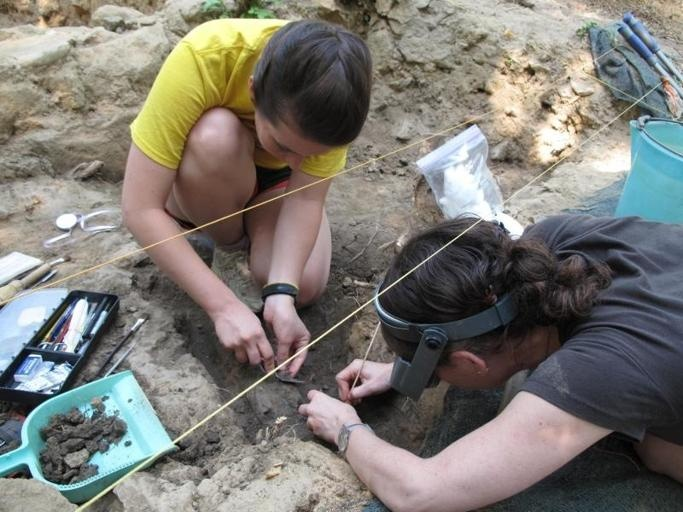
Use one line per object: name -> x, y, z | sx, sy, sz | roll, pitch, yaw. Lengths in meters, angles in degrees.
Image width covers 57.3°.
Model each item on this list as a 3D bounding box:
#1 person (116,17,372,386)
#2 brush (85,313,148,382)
person -> -0.372, -0.148, 2.436 | 0.738, 1.184, 1.266 | -10, 58, -26
brush -> -0.862, 0.357, 2.464 | 0.066, 0.029, 0.439 | 41, 50, -8
